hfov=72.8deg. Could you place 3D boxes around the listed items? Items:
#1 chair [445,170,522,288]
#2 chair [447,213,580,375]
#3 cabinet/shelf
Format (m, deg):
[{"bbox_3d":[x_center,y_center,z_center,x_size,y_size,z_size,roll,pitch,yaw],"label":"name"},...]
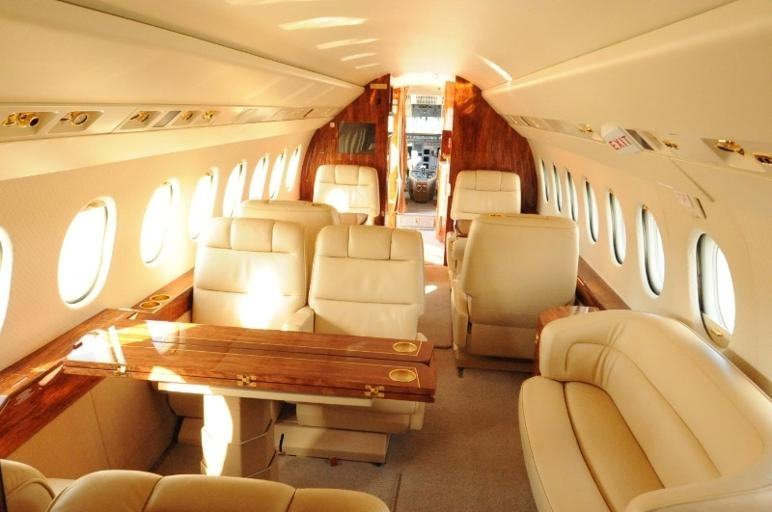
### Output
[{"bbox_3d":[1.366,-0.384,7.116,1.063,1.434,1.267,5,23,18],"label":"chair"},{"bbox_3d":[1.247,0.150,5.368,1.279,1.611,1.546,0,23,-4],"label":"chair"},{"bbox_3d":[1.358,0.646,3.901,0.442,0.751,0.387,0,40,10],"label":"cabinet/shelf"}]
